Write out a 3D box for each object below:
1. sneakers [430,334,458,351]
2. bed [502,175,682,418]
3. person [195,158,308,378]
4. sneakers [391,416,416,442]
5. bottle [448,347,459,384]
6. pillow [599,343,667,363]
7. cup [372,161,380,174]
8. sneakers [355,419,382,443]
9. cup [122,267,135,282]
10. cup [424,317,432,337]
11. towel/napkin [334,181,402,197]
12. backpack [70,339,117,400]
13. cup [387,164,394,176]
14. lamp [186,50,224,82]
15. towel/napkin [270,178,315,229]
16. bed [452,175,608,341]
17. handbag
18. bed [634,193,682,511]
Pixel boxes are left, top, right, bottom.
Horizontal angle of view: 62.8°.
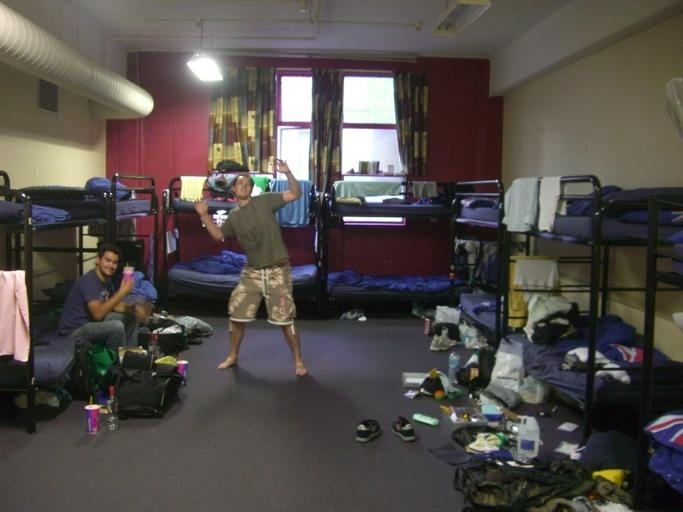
[{"bbox_3d":[1.163,0.979,6.395,0.229,0.080,0.174,-2,3,-35],"label":"sneakers"},{"bbox_3d":[2.203,0.378,4.885,0.707,1.900,2.021,-1,5,-4],"label":"bed"},{"bbox_3d":[-0.834,0.091,5.588,1.042,2.107,0.544,2,13,9],"label":"person"},{"bbox_3d":[0.502,1.386,4.479,0.095,0.100,0.226,-1,5,-9],"label":"sneakers"},{"bbox_3d":[1.115,1.074,5.501,0.102,0.322,0.287,2,14,11],"label":"bottle"},{"bbox_3d":[2.376,0.792,4.577,0.310,0.068,0.291,-4,1,-8],"label":"pillow"},{"bbox_3d":[0.520,-1.313,8.284,0.081,0.189,0.194,6,15,24],"label":"cup"},{"bbox_3d":[0.218,1.385,4.464,0.097,0.104,0.237,1,4,22],"label":"sneakers"},{"bbox_3d":[-2.019,0.168,5.260,0.106,0.175,0.107,2,5,0],"label":"cup"},{"bbox_3d":[1.086,0.849,6.967,0.089,0.187,0.312,2,14,9],"label":"cup"},{"bbox_3d":[0.360,-0.937,7.705,0.940,0.219,0.138,-4,14,-15],"label":"towel/napkin"},{"bbox_3d":[-2.203,0.995,4.971,0.430,0.554,0.199,6,6,2],"label":"backpack"},{"bbox_3d":[0.752,-1.310,8.399,0.090,0.150,0.164,4,14,19],"label":"cup"},{"bbox_3d":[-1.781,-2.471,7.226,0.370,0.305,0.674,-2,14,-7],"label":"lamp"},{"bbox_3d":[-0.670,-0.702,7.850,0.499,0.747,0.431,1,15,2],"label":"towel/napkin"},{"bbox_3d":[2.006,0.056,5.874,0.770,1.242,1.999,0,3,0],"label":"bed"},{"bbox_3d":[-1.708,1.087,4.755,0.516,0.230,0.527,4,16,4],"label":"handbag"},{"bbox_3d":[2.204,0.582,3.934,0.244,2.033,1.004,7,15,27],"label":"bed"}]
